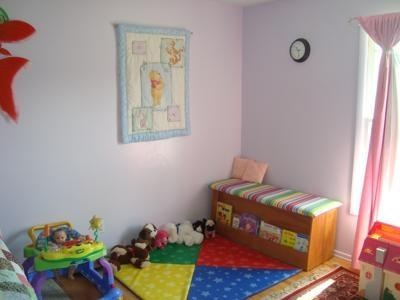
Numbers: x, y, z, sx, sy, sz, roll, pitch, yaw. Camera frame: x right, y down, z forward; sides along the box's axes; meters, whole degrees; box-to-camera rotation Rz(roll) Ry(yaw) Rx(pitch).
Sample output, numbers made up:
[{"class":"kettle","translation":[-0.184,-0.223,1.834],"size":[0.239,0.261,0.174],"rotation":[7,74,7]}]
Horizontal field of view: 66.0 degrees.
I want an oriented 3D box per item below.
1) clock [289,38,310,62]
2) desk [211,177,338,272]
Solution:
[{"class":"clock","translation":[1.267,-1.257,3.924],"size":[0.065,0.295,0.305],"rotation":[-12,18,-42]},{"class":"desk","translation":[0.919,0.934,4.093],"size":[0.668,0.805,1.514],"rotation":[-6,10,-39]}]
